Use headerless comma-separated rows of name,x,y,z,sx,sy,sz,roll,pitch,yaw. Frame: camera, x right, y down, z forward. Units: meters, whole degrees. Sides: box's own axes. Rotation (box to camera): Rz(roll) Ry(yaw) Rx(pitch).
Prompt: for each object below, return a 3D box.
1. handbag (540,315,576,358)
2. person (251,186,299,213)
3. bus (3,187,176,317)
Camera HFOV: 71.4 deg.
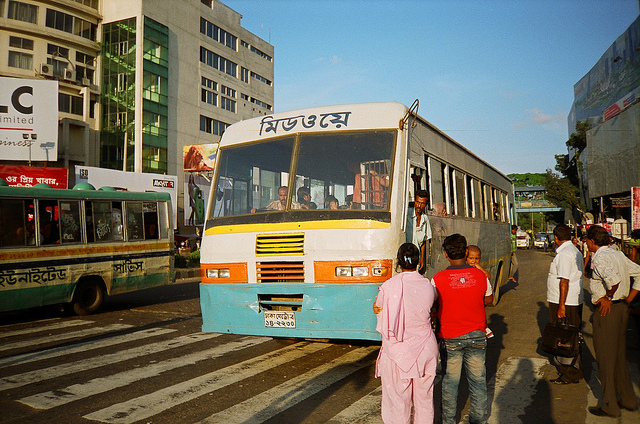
handbag,3.855,2.002,7.196,0.523,0.743,0.341,0,-28,45
person,-0.610,-0.318,8.222,0.335,0.550,1.195,-15,-7,39
bus,-6.486,1.149,12.763,4.327,3.620,0.929,-2,2,-43
